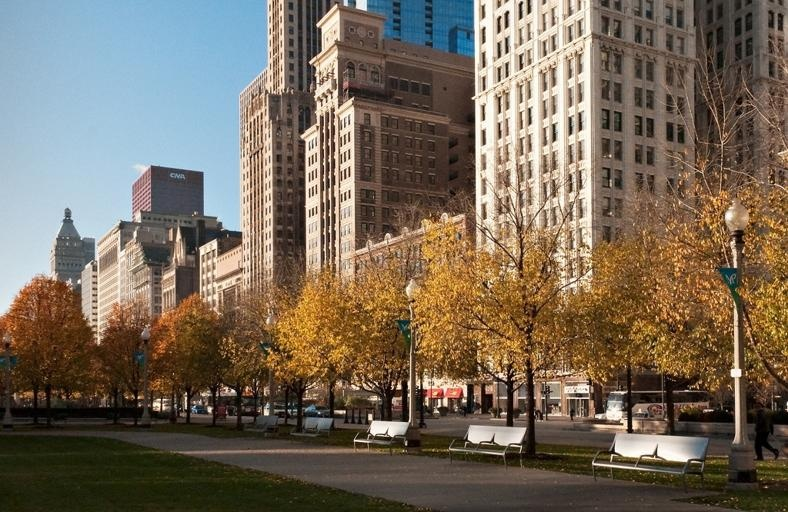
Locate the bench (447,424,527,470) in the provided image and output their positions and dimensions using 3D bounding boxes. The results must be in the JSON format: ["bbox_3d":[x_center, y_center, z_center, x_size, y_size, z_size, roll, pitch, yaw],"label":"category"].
[{"bbox_3d":[5.819,11.744,75.768,2.131,2.228,4.891,-2,-2,-42],"label":"bench"}]

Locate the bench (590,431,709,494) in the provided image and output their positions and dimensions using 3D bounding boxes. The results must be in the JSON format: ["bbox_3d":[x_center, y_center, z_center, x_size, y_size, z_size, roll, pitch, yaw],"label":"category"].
[{"bbox_3d":[14.821,11.744,70.988,2.508,2.645,6.884,4,-6,-43],"label":"bench"}]
